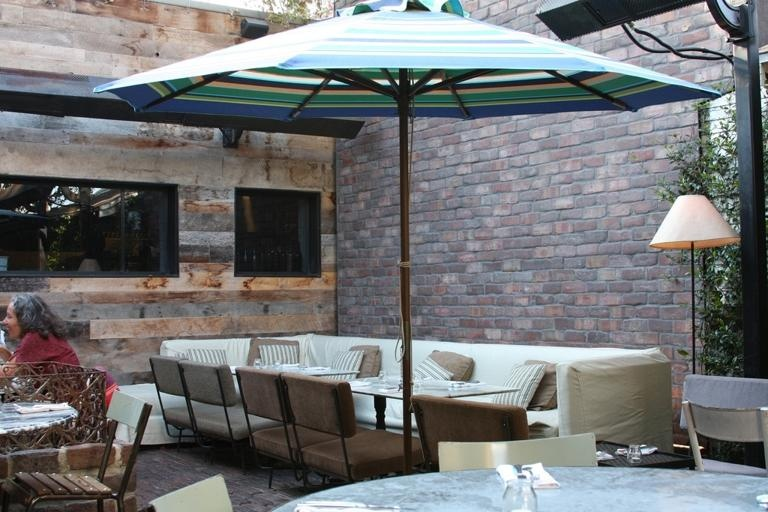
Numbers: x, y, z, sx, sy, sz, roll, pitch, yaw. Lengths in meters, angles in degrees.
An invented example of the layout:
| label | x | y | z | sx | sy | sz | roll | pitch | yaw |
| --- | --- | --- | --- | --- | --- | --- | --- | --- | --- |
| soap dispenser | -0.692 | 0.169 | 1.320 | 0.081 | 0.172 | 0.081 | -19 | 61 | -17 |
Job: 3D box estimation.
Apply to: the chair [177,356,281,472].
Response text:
| label | x | y | z | sx | sy | sz | roll | pitch | yaw |
| --- | --- | --- | --- | --- | --- | --- | --- | --- | --- |
| chair | -1.492 | 1.484 | 6.334 | 1.181 | 0.742 | 1.311 | 1 | -7 | -30 |

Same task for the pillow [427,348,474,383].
| label | x | y | z | sx | sy | sz | roll | pitch | yaw |
| --- | --- | --- | --- | --- | --- | --- | --- | --- | --- |
| pillow | 0.709 | 1.161 | 6.432 | 0.357 | 0.308 | 0.128 | 7 | -39 | 52 |

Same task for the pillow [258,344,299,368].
| label | x | y | z | sx | sy | sz | roll | pitch | yaw |
| --- | --- | --- | --- | --- | --- | --- | --- | --- | --- |
| pillow | -1.389 | 1.279 | 7.601 | 0.423 | 0.199 | 0.041 | 1 | -26 | -27 |

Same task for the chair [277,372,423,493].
| label | x | y | z | sx | sy | sz | roll | pitch | yaw |
| --- | --- | --- | --- | --- | --- | --- | --- | --- | --- |
| chair | -0.340 | 1.433 | 4.875 | 0.922 | 0.712 | 1.152 | 16 | -17 | -36 |

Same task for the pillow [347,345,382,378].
| label | x | y | z | sx | sy | sz | roll | pitch | yaw |
| --- | --- | --- | --- | --- | --- | --- | --- | --- | --- |
| pillow | -0.239 | 1.297 | 7.232 | 0.279 | 0.336 | 0.586 | 0 | -1 | -43 |

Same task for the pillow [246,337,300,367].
| label | x | y | z | sx | sy | sz | roll | pitch | yaw |
| --- | --- | --- | --- | --- | --- | --- | --- | --- | --- |
| pillow | -1.471 | 1.275 | 7.891 | 0.545 | 0.303 | 0.494 | 4 | -10 | -30 |
